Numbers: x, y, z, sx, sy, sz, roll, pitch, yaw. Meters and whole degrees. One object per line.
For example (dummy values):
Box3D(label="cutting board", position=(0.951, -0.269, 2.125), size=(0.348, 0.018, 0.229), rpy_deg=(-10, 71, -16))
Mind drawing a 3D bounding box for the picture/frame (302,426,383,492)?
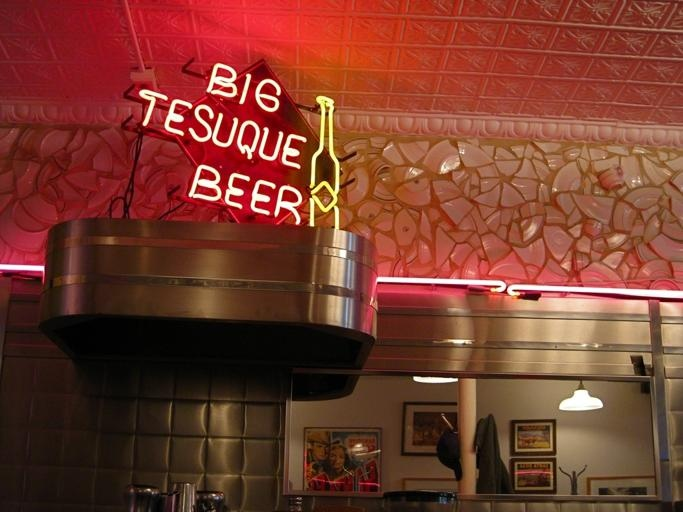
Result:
Box3D(label="picture/frame", position=(-0.005, 1.133, 3.610), size=(0.464, 0.351, 0.010), rpy_deg=(-6, -16, 22))

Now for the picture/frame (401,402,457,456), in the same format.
Box3D(label="picture/frame", position=(0.506, 0.976, 3.699), size=(0.330, 0.283, 0.014), rpy_deg=(6, -13, -16))

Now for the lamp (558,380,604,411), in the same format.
Box3D(label="lamp", position=(1.386, 0.831, 3.838), size=(0.159, 0.173, 0.161), rpy_deg=(2, -28, 1))
